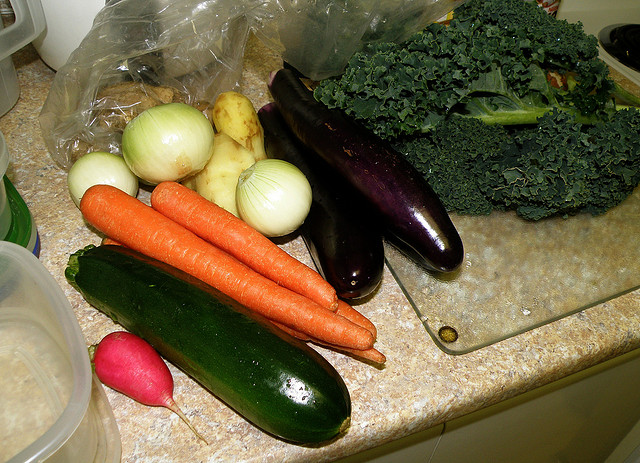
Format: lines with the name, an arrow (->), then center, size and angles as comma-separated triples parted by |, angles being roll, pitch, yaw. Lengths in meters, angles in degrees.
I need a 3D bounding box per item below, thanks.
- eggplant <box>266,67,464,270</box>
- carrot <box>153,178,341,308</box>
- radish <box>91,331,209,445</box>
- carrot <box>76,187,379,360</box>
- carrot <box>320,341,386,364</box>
eggplant -> 0.073, -0.171, 1.200 | 0.151, 0.179, 0.674 | -34, 56, -10
carrot -> -0.144, 0.026, 1.022 | 0.325, 0.070, 0.065 | 31, 41, 8
radish -> -0.292, 0.271, 0.942 | 0.242, 0.082, 0.105 | 37, 50, 8
carrot -> -0.173, 0.084, 0.986 | 0.488, 0.076, 0.089 | 27, 33, 13
carrot -> 0.059, 0.219, 0.968 | 0.102, 0.021, 0.027 | 11, 50, 13
